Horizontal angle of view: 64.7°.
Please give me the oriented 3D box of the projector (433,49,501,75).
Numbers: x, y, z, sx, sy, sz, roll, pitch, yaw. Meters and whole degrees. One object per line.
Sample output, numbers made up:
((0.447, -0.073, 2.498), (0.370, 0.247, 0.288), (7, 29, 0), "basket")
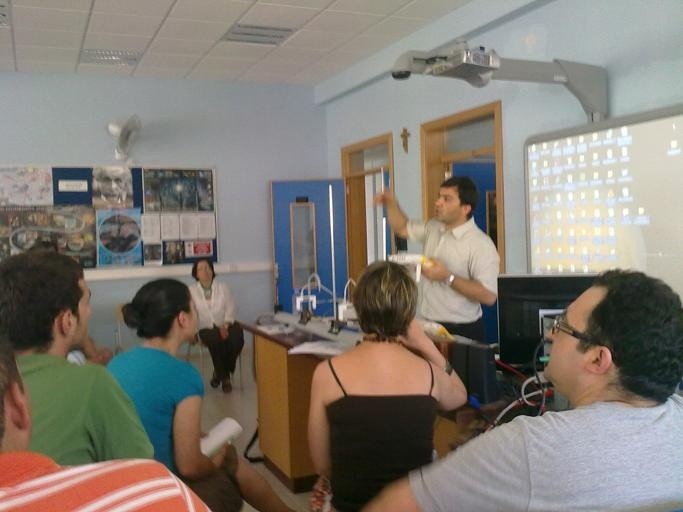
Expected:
((0.659, -1.007, 2.776), (0.155, 0.073, 0.204), (-2, 0, -28), "projector")

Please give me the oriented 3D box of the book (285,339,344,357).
((-0.115, 0.464, 2.720), (0.117, 0.046, 0.192), (-5, -1, -41), "book")

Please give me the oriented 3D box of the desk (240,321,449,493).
((-0.259, 0.969, 3.447), (0.546, 0.836, 0.866), (0, -4, -32), "desk")

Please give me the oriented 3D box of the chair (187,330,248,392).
((-1.183, 0.939, 5.246), (0.398, 1.014, 0.327), (-8, -30, 8), "chair")

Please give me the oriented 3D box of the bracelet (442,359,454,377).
((0.405, 0.418, 2.035), (0.061, 0.049, 0.064), (-1, -6, -1), "bracelet")
